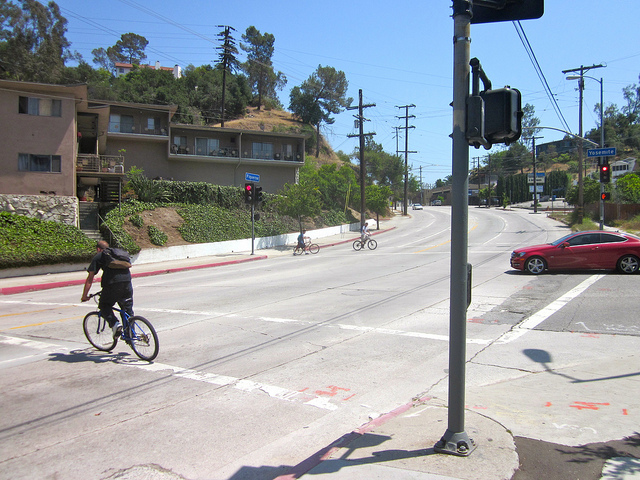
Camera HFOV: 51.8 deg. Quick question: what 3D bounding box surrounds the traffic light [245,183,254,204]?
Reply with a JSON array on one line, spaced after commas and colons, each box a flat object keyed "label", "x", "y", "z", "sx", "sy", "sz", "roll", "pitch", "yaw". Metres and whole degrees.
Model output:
[{"label": "traffic light", "x": -3.656, "y": -2.413, "z": 34.381, "sx": 0.484, "sy": 0.991, "sz": 0.579, "roll": -3, "pitch": 14, "yaw": -8}]

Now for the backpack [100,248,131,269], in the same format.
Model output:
[{"label": "backpack", "x": -4.669, "y": 0.421, "z": 15.077, "sx": 0.630, "sy": 0.502, "sz": 0.346, "roll": -6, "pitch": 15, "yaw": -20}]

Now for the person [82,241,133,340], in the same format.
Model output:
[{"label": "person", "x": -4.802, "y": 1.219, "z": 15.206, "sx": 1.008, "sy": 2.293, "sz": 0.643, "roll": 3, "pitch": 15, "yaw": 17}]

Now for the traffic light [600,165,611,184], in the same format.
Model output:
[{"label": "traffic light", "x": 13.006, "y": -3.067, "z": 30.279, "sx": 0.380, "sy": 0.829, "sz": 0.379, "roll": 3, "pitch": 15, "yaw": 17}]

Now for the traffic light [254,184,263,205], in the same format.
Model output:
[{"label": "traffic light", "x": -3.240, "y": -2.437, "z": 34.693, "sx": 0.322, "sy": 0.704, "sz": 0.839, "roll": 0, "pitch": 14, "yaw": 4}]

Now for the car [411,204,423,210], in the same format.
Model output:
[{"label": "car", "x": 14.527, "y": -5.039, "z": 99.058, "sx": 1.021, "sy": 0.774, "sz": 2.269, "roll": -1, "pitch": 9, "yaw": 1}]

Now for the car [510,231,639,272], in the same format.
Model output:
[{"label": "car", "x": 9.138, "y": 0.423, "z": 23.603, "sx": 3.597, "sy": 1.137, "sz": 1.518, "roll": 0, "pitch": -1, "yaw": 18}]

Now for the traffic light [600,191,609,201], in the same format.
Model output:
[{"label": "traffic light", "x": 13.197, "y": -2.037, "z": 30.684, "sx": 0.342, "sy": 0.440, "sz": 0.800, "roll": 4, "pitch": 15, "yaw": 20}]

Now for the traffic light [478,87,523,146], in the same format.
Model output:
[{"label": "traffic light", "x": 3.139, "y": -2.215, "z": 11.631, "sx": 0.560, "sy": 0.941, "sz": 0.734, "roll": 0, "pitch": 0, "yaw": -44}]

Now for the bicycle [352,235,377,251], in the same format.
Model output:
[{"label": "bicycle", "x": 2.620, "y": 0.036, "z": 38.846, "sx": 1.338, "sy": 0.894, "sz": 0.684, "roll": -4, "pitch": 17, "yaw": -1}]

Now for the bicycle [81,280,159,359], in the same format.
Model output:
[{"label": "bicycle", "x": -4.633, "y": 1.874, "z": 15.170, "sx": 2.253, "sy": 1.425, "sz": 1.125, "roll": -6, "pitch": 10, "yaw": 32}]

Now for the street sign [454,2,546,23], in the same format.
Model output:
[{"label": "street sign", "x": 3.140, "y": -4.034, "z": 11.686, "sx": 1.549, "sy": 0.343, "sz": 0.315, "roll": 0, "pitch": 14, "yaw": 3}]

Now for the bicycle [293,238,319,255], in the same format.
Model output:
[{"label": "bicycle", "x": -0.812, "y": 0.354, "z": 37.887, "sx": 1.406, "sy": 0.899, "sz": 0.705, "roll": -7, "pitch": 10, "yaw": -10}]
